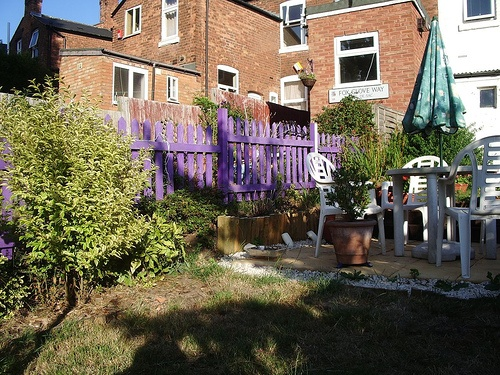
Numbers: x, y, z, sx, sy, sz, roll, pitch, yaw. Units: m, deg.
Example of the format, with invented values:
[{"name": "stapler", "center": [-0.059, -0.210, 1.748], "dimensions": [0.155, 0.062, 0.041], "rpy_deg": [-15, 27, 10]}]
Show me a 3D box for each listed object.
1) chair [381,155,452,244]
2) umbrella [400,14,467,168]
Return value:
[{"name": "chair", "center": [2.520, 0.199, 7.431], "dimensions": [0.793, 1.602, 0.998], "rpy_deg": [-3, -8, 41]}, {"name": "umbrella", "center": [2.536, -1.350, 6.708], "dimensions": [0.791, 1.937, 0.627], "rpy_deg": [3, 9, 25]}]
